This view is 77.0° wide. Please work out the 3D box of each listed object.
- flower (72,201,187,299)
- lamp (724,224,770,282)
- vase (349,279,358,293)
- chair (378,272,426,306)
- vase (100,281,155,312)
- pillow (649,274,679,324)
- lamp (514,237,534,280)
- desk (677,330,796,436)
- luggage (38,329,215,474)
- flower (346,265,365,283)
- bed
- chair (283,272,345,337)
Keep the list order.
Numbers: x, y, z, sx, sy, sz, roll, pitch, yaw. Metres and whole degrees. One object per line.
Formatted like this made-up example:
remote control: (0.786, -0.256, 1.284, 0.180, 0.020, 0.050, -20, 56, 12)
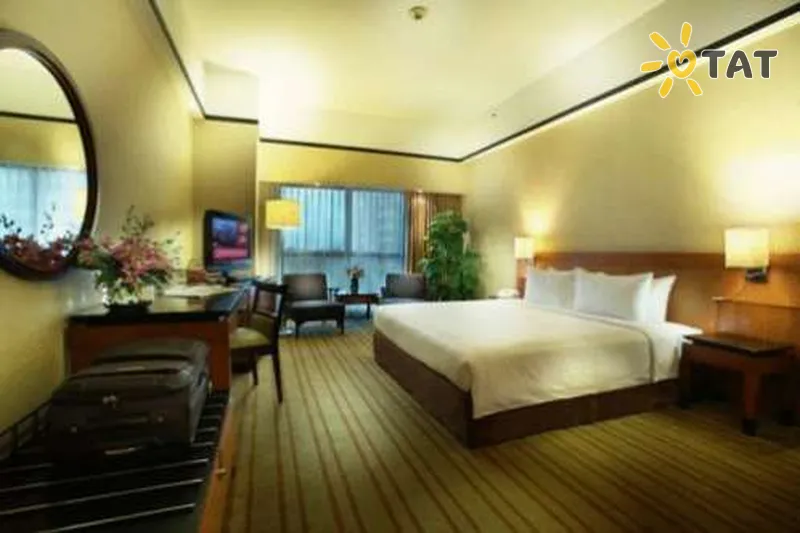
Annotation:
flower: (-2.137, -0.092, 3.975, 0.752, 0.777, 0.730, 11, 8, 24)
lamp: (3.225, -0.092, 4.638, 0.269, 0.468, 0.253, 0, -1, -28)
vase: (-0.739, 0.300, 8.079, 0.098, 0.237, 0.126, -1, 4, -17)
chair: (0.057, 0.357, 8.126, 0.515, 0.699, 0.556, 1, -3, 3)
vase: (-2.003, 0.228, 3.692, 0.240, 0.119, 0.242, 3, -2, -6)
pillow: (2.729, 0.332, 5.206, 0.442, 0.421, 0.168, -9, 13, -41)
lamp: (1.745, -0.122, 7.098, 0.274, 0.631, 0.262, 2, 9, 14)
desk: (2.961, 0.927, 4.680, 0.820, 0.849, 0.835, -4, 7, -20)
luggage: (-1.813, 0.853, 3.415, 0.848, 0.552, 1.128, -1, 3, -24)
flower: (-0.723, 0.113, 8.197, 0.278, 0.287, 0.280, 1, 0, -8)
bed: (1.201, 0.909, 4.509, 1.559, 0.487, 1.642, 0, 2, -21)
chair: (-1.248, 0.497, 7.457, 0.756, 0.877, 0.986, 1, -3, -24)
